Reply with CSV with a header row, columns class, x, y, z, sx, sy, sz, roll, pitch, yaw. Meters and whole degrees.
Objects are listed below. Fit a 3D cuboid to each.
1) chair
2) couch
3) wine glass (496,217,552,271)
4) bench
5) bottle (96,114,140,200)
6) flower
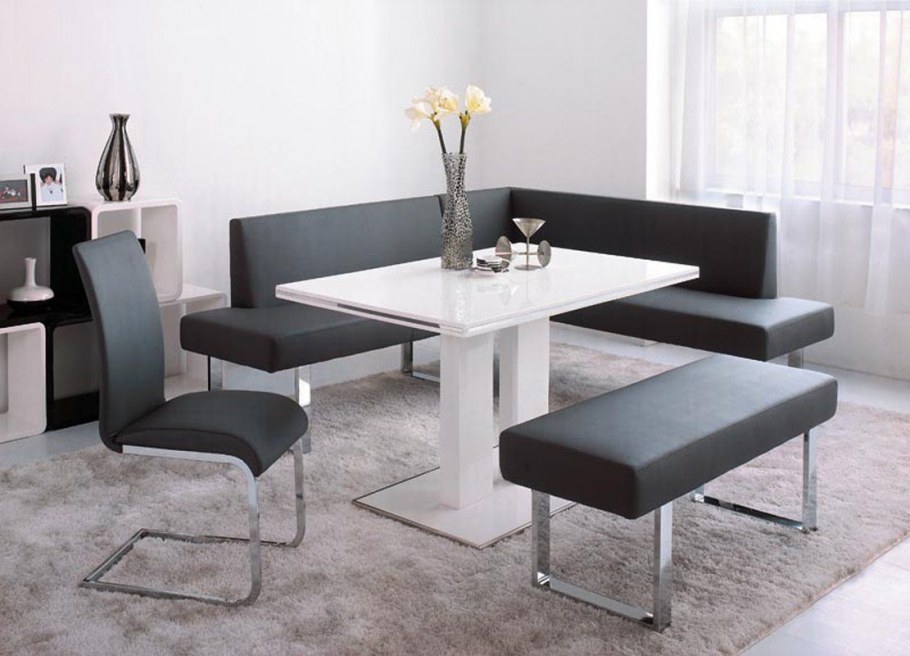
class,x,y,z,sx,sy,sz,roll,pitch,yaw
chair,-0.913,0.290,2.590,0.734,1.170,0.630,5,8,11
couch,0.535,-0.277,3.887,1.848,0.733,1.706,-7,9,-43
wine glass,0.323,-0.346,3.246,0.309,0.285,0.251,0,6,18
bench,0.843,0.550,2.699,1.281,0.646,0.612,-12,13,-37
bottle,-1.690,-0.842,3.650,0.201,0.418,0.197,-2,17,1
flower,-0.027,-0.809,2.984,0.285,0.307,0.332,0,-17,21
